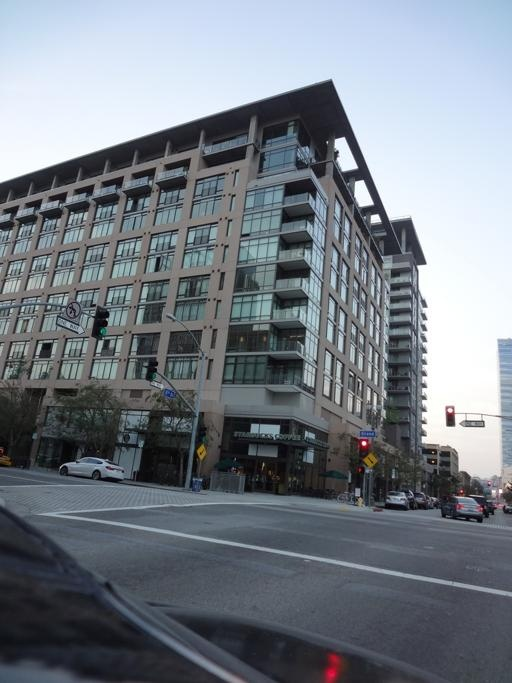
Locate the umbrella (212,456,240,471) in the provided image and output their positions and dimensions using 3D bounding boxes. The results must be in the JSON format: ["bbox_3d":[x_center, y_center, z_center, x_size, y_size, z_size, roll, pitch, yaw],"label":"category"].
[{"bbox_3d":[-1.993,9.452,38.713,1.416,0.700,1.419,-7,-20,24],"label":"umbrella"}]

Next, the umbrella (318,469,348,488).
[{"bbox_3d":[6.943,12.407,46.140,1.950,0.981,1.992,21,-25,-22],"label":"umbrella"}]

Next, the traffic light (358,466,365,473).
[{"bbox_3d":[6.040,7.335,29.024,0.305,0.402,0.610,4,-17,11],"label":"traffic light"}]

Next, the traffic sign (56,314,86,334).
[{"bbox_3d":[-8.847,-0.814,24.475,0.264,0.443,1.934,4,-13,16],"label":"traffic sign"}]

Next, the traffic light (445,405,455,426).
[{"bbox_3d":[12.123,4.671,31.509,0.495,1.182,0.621,4,-18,11],"label":"traffic light"}]

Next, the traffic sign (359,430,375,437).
[{"bbox_3d":[6.855,5.668,30.842,0.896,0.460,0.699,2,-18,15],"label":"traffic sign"}]

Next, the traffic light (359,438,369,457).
[{"bbox_3d":[6.383,6.302,29.901,0.466,1.071,0.361,0,-19,20],"label":"traffic light"}]

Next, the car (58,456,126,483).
[{"bbox_3d":[-9.761,7.461,29.918,3.768,1.229,0.990,-3,-20,28],"label":"car"}]
